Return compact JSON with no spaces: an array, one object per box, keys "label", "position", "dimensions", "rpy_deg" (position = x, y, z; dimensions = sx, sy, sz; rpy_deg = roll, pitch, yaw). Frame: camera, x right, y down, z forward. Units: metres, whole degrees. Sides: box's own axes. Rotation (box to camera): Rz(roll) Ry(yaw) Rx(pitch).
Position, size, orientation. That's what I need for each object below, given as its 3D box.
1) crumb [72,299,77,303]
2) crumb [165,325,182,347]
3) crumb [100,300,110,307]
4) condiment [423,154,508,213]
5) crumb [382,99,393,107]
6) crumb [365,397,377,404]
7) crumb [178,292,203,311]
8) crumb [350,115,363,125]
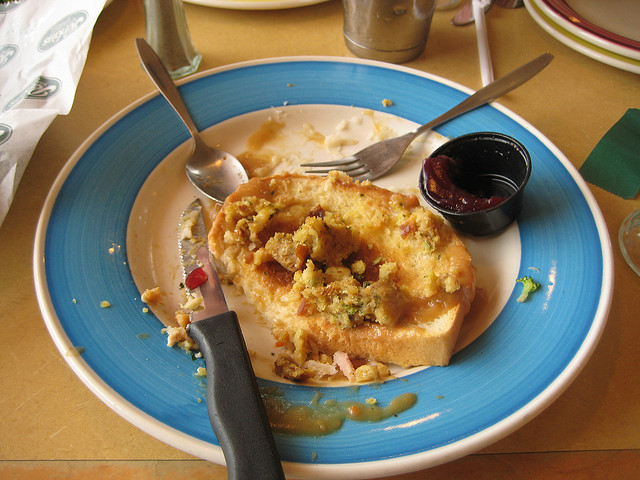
[{"label":"crumb","position":[-0.887,0.220,2.186],"dimensions":[0.010,0.003,0.010],"rpy_deg":[10,56,-27]},{"label":"crumb","position":[-0.525,0.343,2.174],"dimensions":[0.058,0.012,0.058],"rpy_deg":[30,60,24]},{"label":"crumb","position":[-0.783,0.233,2.202],"dimensions":[0.033,0.016,0.022],"rpy_deg":[-5,81,-2]},{"label":"condiment","position":[0.510,-0.196,2.392],"dimensions":[0.251,0.097,0.265],"rpy_deg":[-12,52,-6]},{"label":"crumb","position":[0.302,-0.615,2.757],"dimensions":[0.031,0.033,0.031],"rpy_deg":[-6,88,5]},{"label":"crumb","position":[0.176,0.546,2.067],"dimensions":[0.018,0.008,0.019],"rpy_deg":[-14,29,-12]},{"label":"crumb","position":[-0.487,0.225,2.260],"dimensions":[0.060,0.018,0.064],"rpy_deg":[-32,32,8]},{"label":"crumb","position":[0.169,-0.546,2.789],"dimensions":[0.037,0.010,0.040],"rpy_deg":[3,71,4]}]
